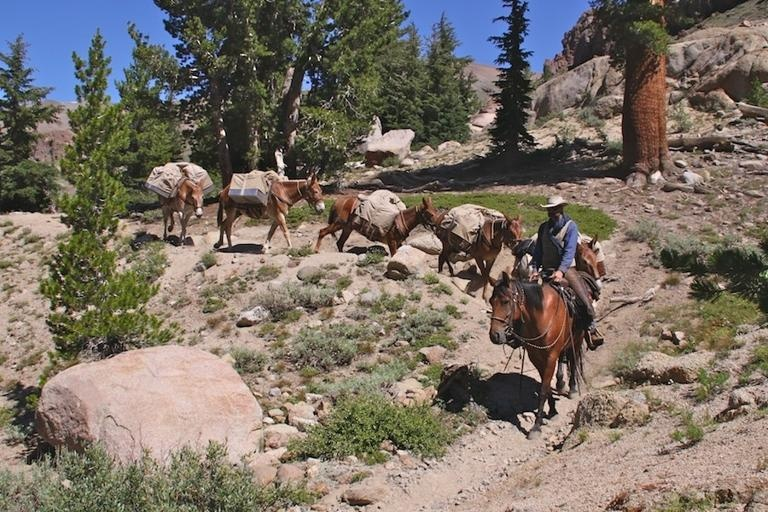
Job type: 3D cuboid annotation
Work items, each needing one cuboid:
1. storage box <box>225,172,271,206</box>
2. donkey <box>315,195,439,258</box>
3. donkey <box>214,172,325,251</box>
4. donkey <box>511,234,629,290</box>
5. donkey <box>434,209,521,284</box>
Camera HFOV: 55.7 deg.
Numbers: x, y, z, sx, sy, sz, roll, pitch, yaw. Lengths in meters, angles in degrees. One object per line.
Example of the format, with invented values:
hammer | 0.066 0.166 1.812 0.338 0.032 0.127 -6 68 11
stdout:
storage box | -6.352 -3.198 34.626 1.964 1.599 1.042 -2 6 24
donkey | -0.365 -1.243 33.386 5.681 3.523 1.825 12 11 20
donkey | -5.776 -2.013 35.142 5.499 4.273 1.688 2 5 13
donkey | 6.589 0.010 28.235 1.514 2.780 4.692 -3 7 -37
donkey | 3.803 -0.384 31.271 1.548 3.440 5.099 -4 14 -36
